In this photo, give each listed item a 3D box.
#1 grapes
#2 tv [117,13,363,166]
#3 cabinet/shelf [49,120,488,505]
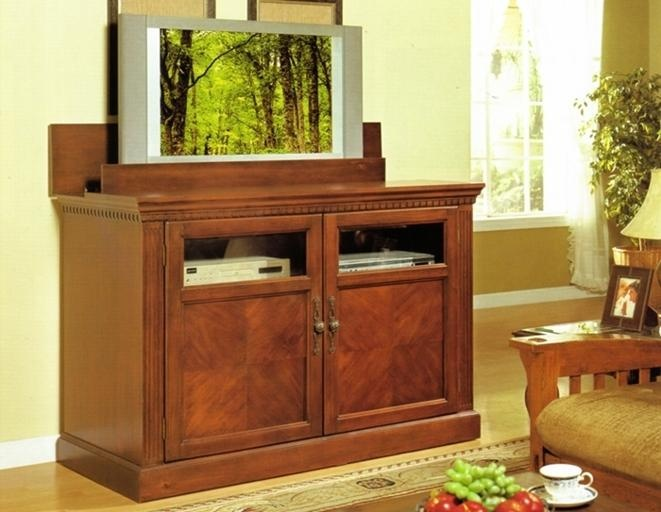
[{"bbox_3d":[0.376,0.587,1.797,0.121,0.081,0.156,7,2,-6],"label":"grapes"},{"bbox_3d":[-0.523,-0.886,3.592,0.965,0.506,0.063,-4,11,-28],"label":"tv"},{"bbox_3d":[-0.283,0.182,3.720,2.103,1.645,1.034,-2,2,-38],"label":"cabinet/shelf"}]
